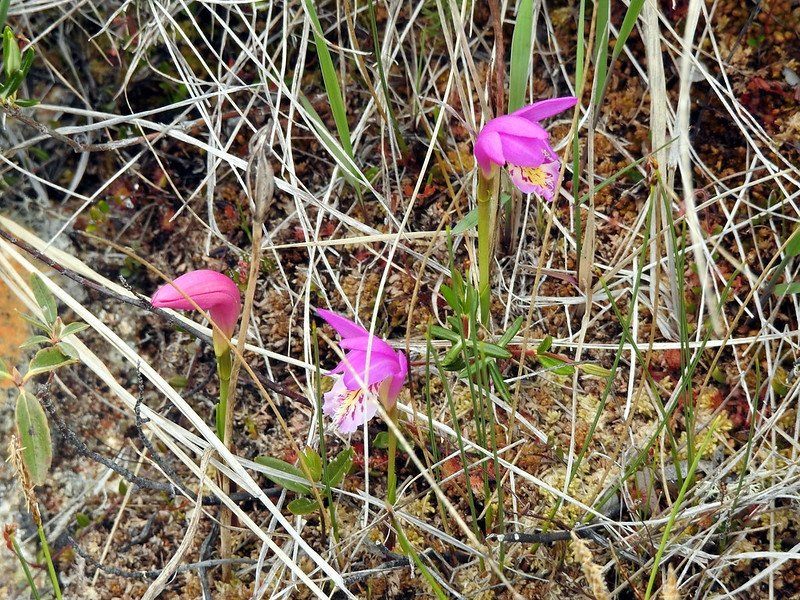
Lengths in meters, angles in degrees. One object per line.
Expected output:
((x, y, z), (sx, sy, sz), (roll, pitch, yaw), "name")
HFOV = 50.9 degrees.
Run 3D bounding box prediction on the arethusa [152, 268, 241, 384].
((-0.660, 0.061, 2.855), (0.251, 0.438, 0.170), (-7, 43, 2), "arethusa")
